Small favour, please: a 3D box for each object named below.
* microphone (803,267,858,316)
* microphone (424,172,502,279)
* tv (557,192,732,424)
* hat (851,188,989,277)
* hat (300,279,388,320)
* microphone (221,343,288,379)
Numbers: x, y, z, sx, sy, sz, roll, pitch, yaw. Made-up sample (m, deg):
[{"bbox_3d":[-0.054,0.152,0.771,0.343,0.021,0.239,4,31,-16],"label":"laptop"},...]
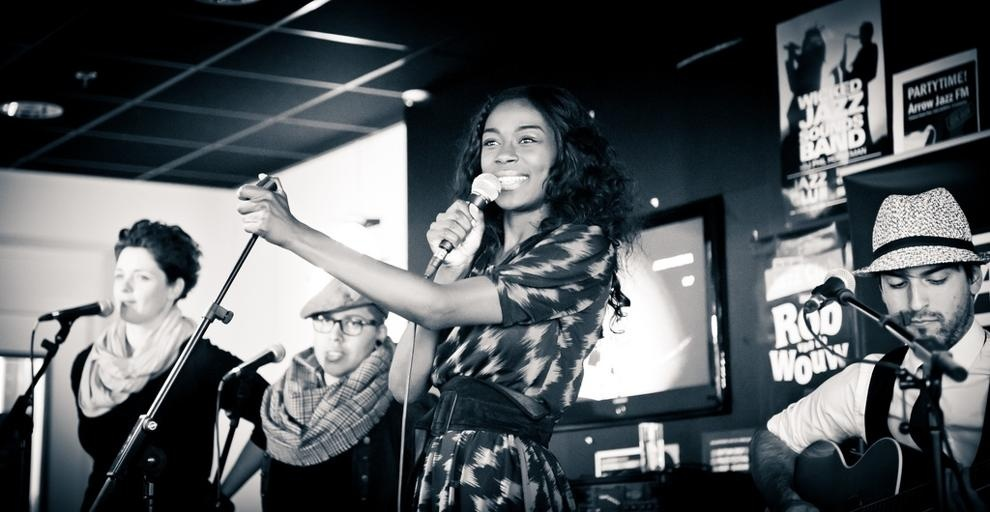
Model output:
[{"bbox_3d":[1.703,0.181,4.530,0.275,0.127,0.165,-30,12,-27],"label":"microphone"},{"bbox_3d":[-0.191,-0.210,4.320,0.198,0.668,0.229,35,-10,-2],"label":"microphone"},{"bbox_3d":[0.921,0.479,5.967,0.123,1.304,1.471,19,-25,-37],"label":"tv"},{"bbox_3d":[2.402,-0.119,4.928,0.577,0.281,0.542,-5,-6,24],"label":"hat"},{"bbox_3d":[-1.182,0.351,6.787,0.537,0.180,0.444,2,-10,-20],"label":"hat"},{"bbox_3d":[-1.875,0.837,6.881,0.424,0.110,0.107,-23,-28,-10],"label":"microphone"}]
